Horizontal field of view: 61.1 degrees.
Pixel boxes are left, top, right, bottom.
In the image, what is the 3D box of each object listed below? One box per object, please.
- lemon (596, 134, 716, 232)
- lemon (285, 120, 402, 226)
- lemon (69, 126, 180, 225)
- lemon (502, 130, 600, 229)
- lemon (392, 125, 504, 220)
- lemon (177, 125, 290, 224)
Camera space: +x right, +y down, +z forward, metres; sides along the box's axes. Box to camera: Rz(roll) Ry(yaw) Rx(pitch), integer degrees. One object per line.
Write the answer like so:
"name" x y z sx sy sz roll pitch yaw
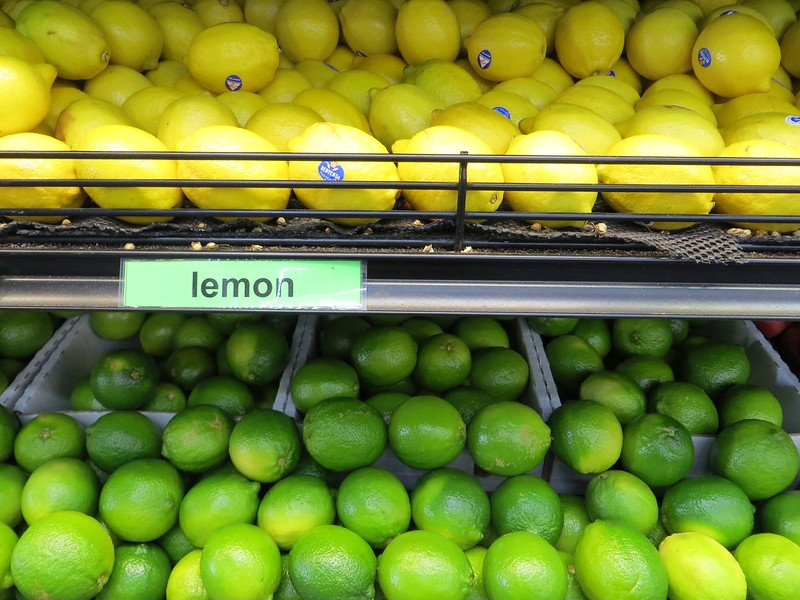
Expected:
"lemon" 0.465 -0.216 1.239 0.199 0.177 0.181 1 11 23
"lemon" -0.097 -0.230 1.225 0.203 0.194 0.205 -5 10 -8
"lemon" -0.482 -0.232 1.228 0.167 0.190 0.247 -9 12 -28
"lemon" 0.271 -0.223 1.241 0.174 0.180 0.241 -1 11 15
"lemon" 0.076 -0.242 1.243 0.219 0.162 0.238 -1 10 11
"lemon" -0.302 -0.230 1.219 0.203 0.179 0.196 -5 10 -10
